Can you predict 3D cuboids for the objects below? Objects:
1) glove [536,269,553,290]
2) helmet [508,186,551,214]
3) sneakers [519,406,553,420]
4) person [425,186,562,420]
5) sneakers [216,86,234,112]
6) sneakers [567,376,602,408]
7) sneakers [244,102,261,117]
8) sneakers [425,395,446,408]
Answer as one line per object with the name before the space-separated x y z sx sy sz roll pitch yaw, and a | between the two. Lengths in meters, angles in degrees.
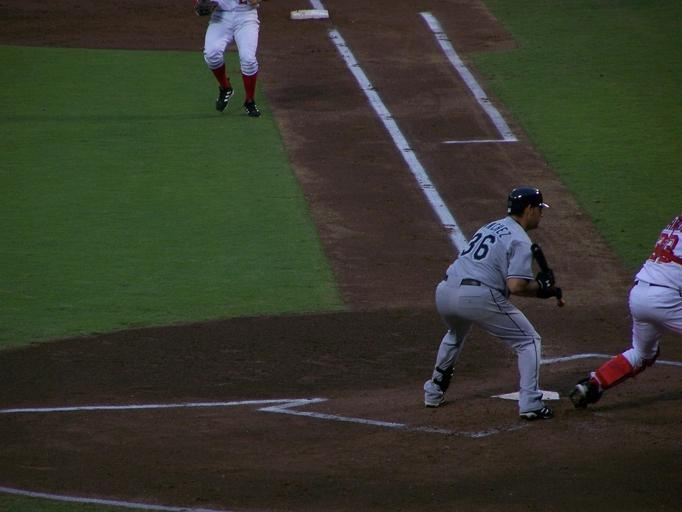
glove | 1.825 0.205 11.857 0.153 0.149 0.135 3 26 7
helmet | 1.795 -0.514 12.039 0.534 0.191 0.274 -3 16 -4
sneakers | 1.767 1.447 11.849 0.338 0.105 0.101 -6 29 -7
person | 1.412 0.453 12.019 1.274 2.103 1.170 9 29 16
sneakers | -1.687 -2.245 18.523 0.304 0.336 0.178 13 18 2
sneakers | 2.223 1.252 11.911 0.375 0.223 0.161 -26 7 14
sneakers | -1.228 -2.065 18.223 0.166 0.246 0.131 -27 -15 -11
sneakers | 0.863 1.386 12.265 0.170 0.073 0.107 -5 -2 19
